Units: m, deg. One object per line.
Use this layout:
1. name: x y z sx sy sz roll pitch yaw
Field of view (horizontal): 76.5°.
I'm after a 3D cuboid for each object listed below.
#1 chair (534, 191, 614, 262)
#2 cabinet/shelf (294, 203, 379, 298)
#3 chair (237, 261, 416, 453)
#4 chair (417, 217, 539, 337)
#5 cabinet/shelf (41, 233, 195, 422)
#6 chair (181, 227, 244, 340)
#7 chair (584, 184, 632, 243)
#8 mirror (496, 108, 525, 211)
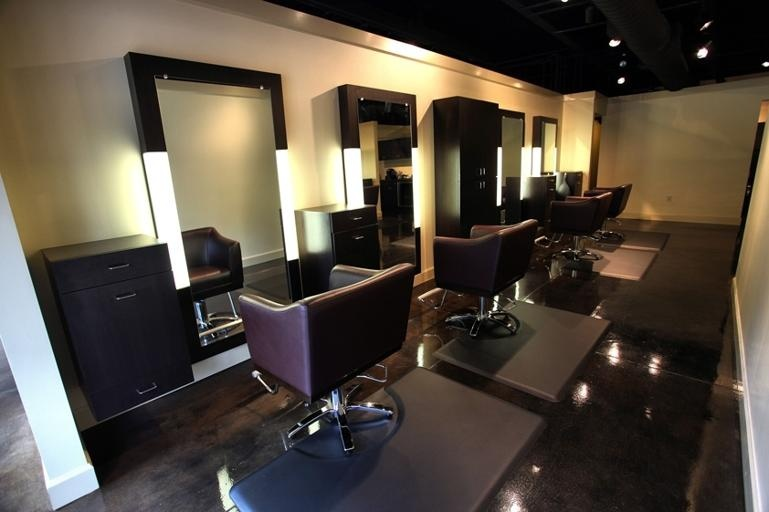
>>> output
1. chair: 2.840 -0.423 7.296 0.938 0.946 0.779 11 15 42
2. cabinet/shelf: -0.510 -0.020 5.589 0.567 1.066 0.760 6 16 38
3. chair: -0.476 0.846 4.371 1.183 1.515 1.303 8 22 32
4. chair: 0.991 0.096 5.575 1.214 1.547 1.321 13 23 40
5. cabinet/shelf: -2.463 0.726 4.441 0.867 1.604 0.938 6 15 41
6. chair: -1.803 0.270 4.808 0.604 0.990 0.654 11 23 36
7. chair: 4.083 -0.894 8.987 0.749 0.914 0.781 9 16 24
8. mirror: 2.216 -1.652 8.410 0.351 1.644 0.631 1 15 15
